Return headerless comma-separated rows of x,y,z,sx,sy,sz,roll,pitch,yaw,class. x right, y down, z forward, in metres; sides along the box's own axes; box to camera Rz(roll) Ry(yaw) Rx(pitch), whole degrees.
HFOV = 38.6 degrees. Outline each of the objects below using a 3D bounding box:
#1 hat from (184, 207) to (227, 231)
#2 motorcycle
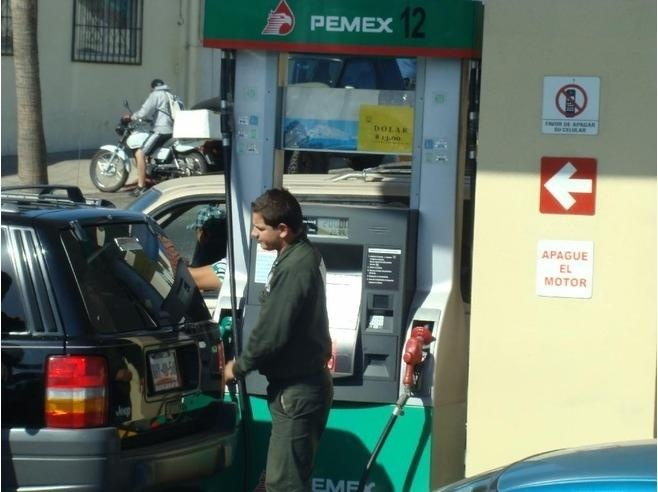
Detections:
-0.912,-0.228,7.071,0.247,0.155,0.166,-6,5,-2,hat
-2.586,-1.584,14.585,2.124,1.565,1.161,4,6,28,motorcycle
